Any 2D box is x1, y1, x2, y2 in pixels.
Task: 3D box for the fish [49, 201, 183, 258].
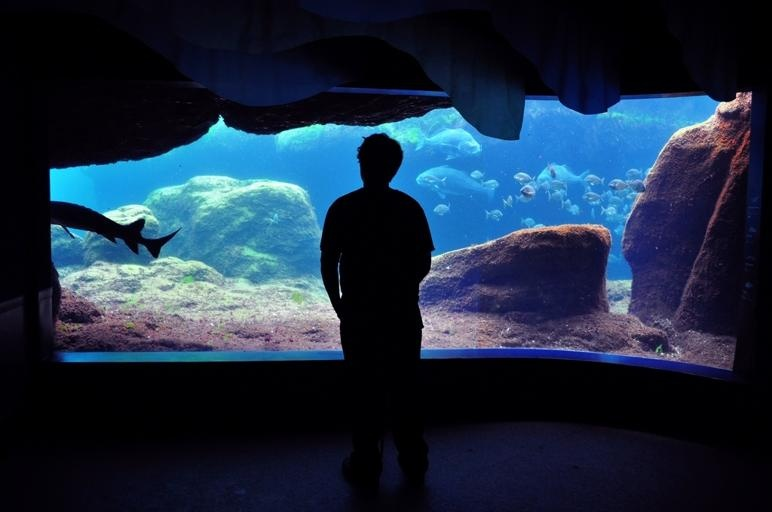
[{"bbox_3d":[-4.790,-0.538,11.034,2.827,0.602,0.546,17,19,18],"label":"fish"}]
